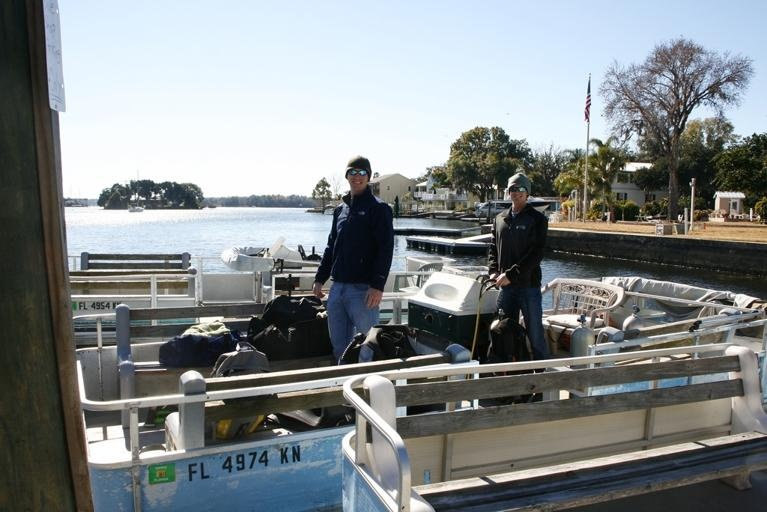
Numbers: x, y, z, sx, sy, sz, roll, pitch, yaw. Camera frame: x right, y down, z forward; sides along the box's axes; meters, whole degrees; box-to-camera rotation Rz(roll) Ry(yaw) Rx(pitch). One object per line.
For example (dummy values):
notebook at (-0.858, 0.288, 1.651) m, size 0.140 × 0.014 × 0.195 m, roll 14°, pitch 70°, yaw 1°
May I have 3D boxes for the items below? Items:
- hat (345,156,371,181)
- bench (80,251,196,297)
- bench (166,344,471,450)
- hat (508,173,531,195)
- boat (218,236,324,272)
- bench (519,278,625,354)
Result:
hat at (-0.216, -0.751, 5.673) m, size 0.200 × 0.189 × 0.231 m, roll 0°, pitch 4°, yaw -6°
bench at (-3.546, 0.325, 9.375) m, size 1.429 × 0.864 × 0.581 m, roll 1°, pitch -6°, yaw -22°
bench at (-0.447, 0.930, 4.717) m, size 1.757 × 0.593 × 0.934 m, roll -5°, pitch 7°, yaw -26°
hat at (1.336, -0.700, 6.506) m, size 0.169 × 0.195 × 0.242 m, roll 1°, pitch -15°, yaw 13°
boat at (-2.630, 0.044, 15.354) m, size 1.835 × 0.543 × 1.323 m, roll 1°, pitch -1°, yaw -38°
bench at (2.090, 0.725, 7.245) m, size 0.630 × 0.792 × 0.905 m, roll -7°, pitch 11°, yaw -43°
